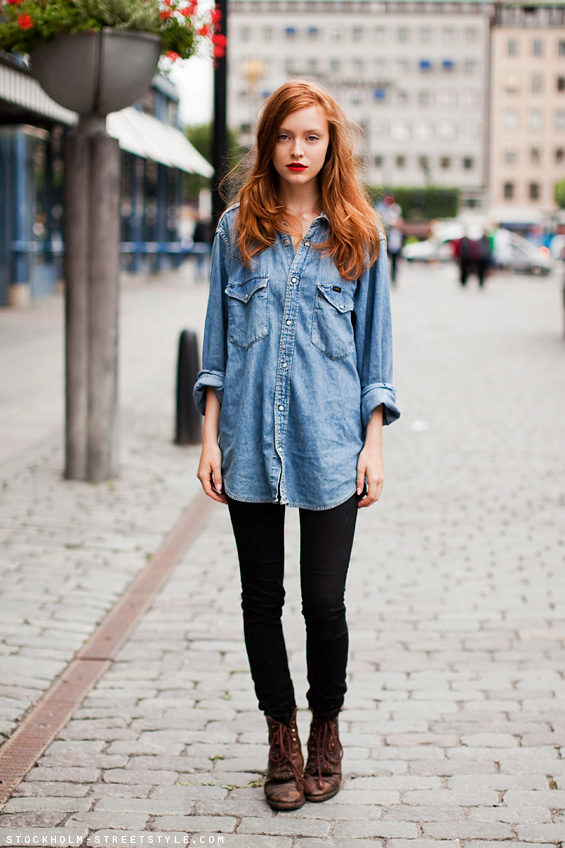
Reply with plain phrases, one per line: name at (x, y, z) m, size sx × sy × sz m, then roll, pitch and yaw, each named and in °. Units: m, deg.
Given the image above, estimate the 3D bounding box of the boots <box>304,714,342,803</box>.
boots at (0.096, 0.773, 2.610) m, size 0.082 × 0.164 × 0.247 m, roll -1°, pitch 8°, yaw 8°
